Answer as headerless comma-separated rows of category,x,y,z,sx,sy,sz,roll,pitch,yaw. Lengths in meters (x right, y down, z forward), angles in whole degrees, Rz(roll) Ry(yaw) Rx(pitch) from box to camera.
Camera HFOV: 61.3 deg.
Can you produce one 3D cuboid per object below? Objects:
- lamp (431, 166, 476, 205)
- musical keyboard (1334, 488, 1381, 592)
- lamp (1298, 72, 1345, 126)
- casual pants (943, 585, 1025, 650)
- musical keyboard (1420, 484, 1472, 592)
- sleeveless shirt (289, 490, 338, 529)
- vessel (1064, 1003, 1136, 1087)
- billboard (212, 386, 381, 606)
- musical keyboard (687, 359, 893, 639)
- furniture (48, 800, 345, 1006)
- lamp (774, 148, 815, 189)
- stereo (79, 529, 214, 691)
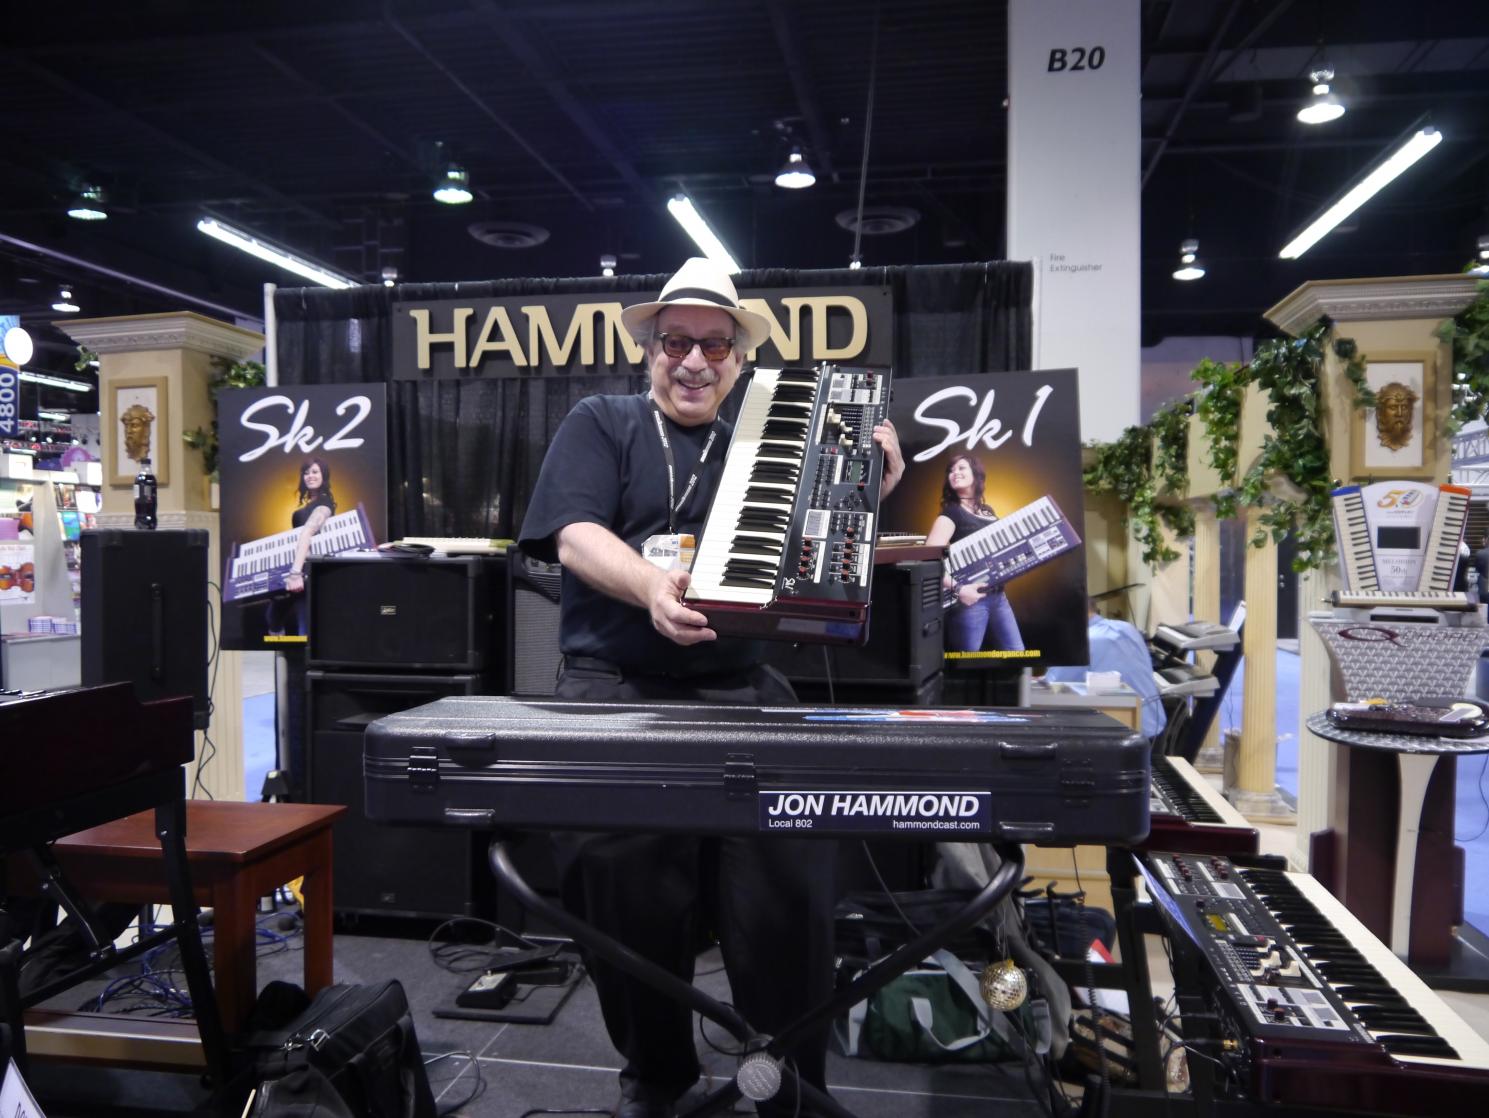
lamp,-2.468,-3.182,10.524,0.257,0.336,0.324,0,2,-15
musical keyboard,2.650,-0.083,5.479,0.149,0.476,0.221,-2,2,-43
lamp,3.994,-3.237,8.713,0.237,0.366,0.499,1,2,25
casual pants,1.130,0.286,6.047,0.277,0.401,0.157,0,-14,-19
musical keyboard,3.010,-0.080,5.381,0.228,0.468,0.097,0,2,-15
sleeveless shirt,-2.293,-0.257,6.706,0.286,0.285,0.169,0,-2,29
vessel,1.219,1.682,4.293,0.249,0.139,0.349,4,-13,-2
billboard,-2.302,-0.350,6.526,1.088,1.551,0.023,1,5,4
musical keyboard,0.156,-0.206,4.023,0.585,0.890,0.682,0,2,8
furniture,-1.962,1.147,4.586,0.744,0.742,0.762,-1,-4,4
lamp,0.383,-3.070,9.742,0.236,0.322,0.444,0,2,4
stereo,-2.953,0.291,6.173,0.559,0.873,0.232,-1,2,-30
